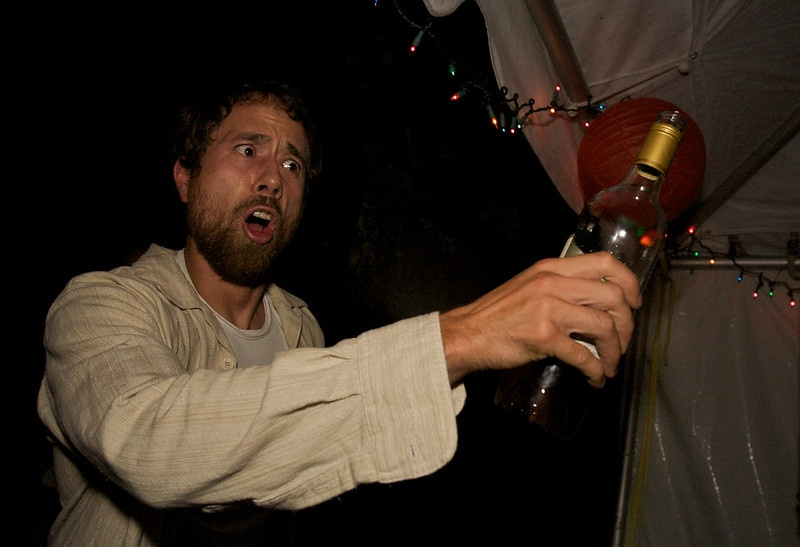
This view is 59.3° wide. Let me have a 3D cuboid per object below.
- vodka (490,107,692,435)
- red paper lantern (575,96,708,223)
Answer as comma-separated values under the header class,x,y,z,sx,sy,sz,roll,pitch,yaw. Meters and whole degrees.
class,x,y,z,sx,sy,sz,roll,pitch,yaw
vodka,1.104,-0.080,3.618,0.393,1.493,0.408,18,5,-13
red paper lantern,1.547,-0.740,4.499,0.840,1.002,0.855,4,18,29
